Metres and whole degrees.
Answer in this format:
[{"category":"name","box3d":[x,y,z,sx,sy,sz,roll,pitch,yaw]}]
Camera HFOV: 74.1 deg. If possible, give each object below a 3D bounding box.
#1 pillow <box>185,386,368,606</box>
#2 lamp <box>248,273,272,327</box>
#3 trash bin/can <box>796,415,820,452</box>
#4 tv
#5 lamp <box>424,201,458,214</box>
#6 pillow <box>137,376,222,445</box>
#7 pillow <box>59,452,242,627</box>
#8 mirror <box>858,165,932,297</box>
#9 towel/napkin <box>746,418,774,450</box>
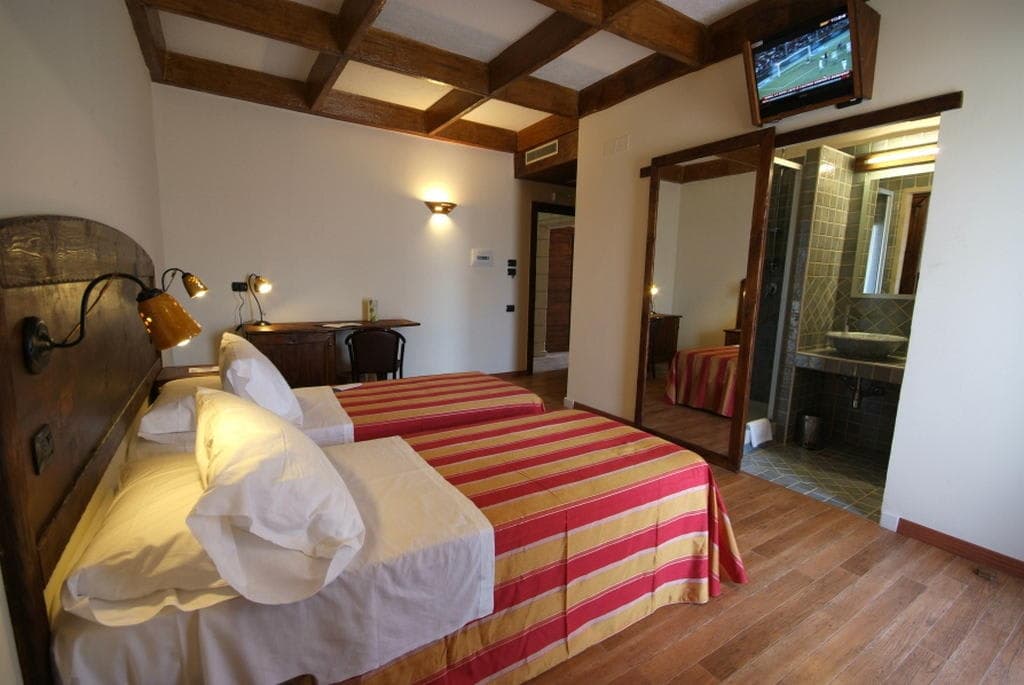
[{"category":"pillow","box3d":[-1.094,0.441,3.120,0.668,0.575,1.529,-5,16,-30]},{"category":"lamp","box3d":[-2.169,-0.370,5.842,0.219,0.458,0.716,-3,7,-21]},{"category":"trash bin/can","box3d":[2.444,0.727,5.561,0.159,0.265,0.128,1,7,9]},{"category":"tv","box3d":[1.893,-1.822,4.391,0.752,0.699,0.275,0,24,44]},{"category":"lamp","box3d":[-0.715,-1.387,6.970,0.391,0.133,0.164,-4,8,-30]},{"category":"pillow","box3d":[-1.851,0.372,3.771,0.360,0.105,0.372,-9,47,-30]},{"category":"pillow","box3d":[-1.732,0.948,3.151,0.653,0.560,0.798,-5,8,-35]},{"category":"mirror","box3d":[2.950,-0.862,5.276,0.103,0.957,0.478,-5,9,-36]},{"category":"towel/napkin","box3d":[2.059,0.757,5.666,0.245,0.244,0.057,3,0,-26]}]
